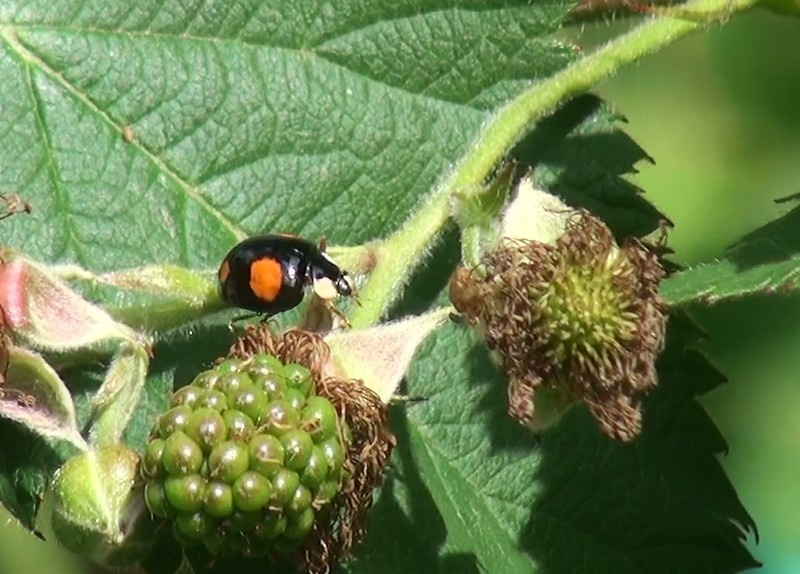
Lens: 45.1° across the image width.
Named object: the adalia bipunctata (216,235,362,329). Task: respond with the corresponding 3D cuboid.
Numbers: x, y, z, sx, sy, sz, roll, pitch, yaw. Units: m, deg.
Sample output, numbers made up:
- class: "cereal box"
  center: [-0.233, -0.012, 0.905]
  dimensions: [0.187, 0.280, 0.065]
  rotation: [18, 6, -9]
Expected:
- class: "adalia bipunctata"
  center: [-0.309, -0.021, 2.525]
  dimensions: [0.299, 0.181, 0.209]
  rotation: [0, 49, -3]
